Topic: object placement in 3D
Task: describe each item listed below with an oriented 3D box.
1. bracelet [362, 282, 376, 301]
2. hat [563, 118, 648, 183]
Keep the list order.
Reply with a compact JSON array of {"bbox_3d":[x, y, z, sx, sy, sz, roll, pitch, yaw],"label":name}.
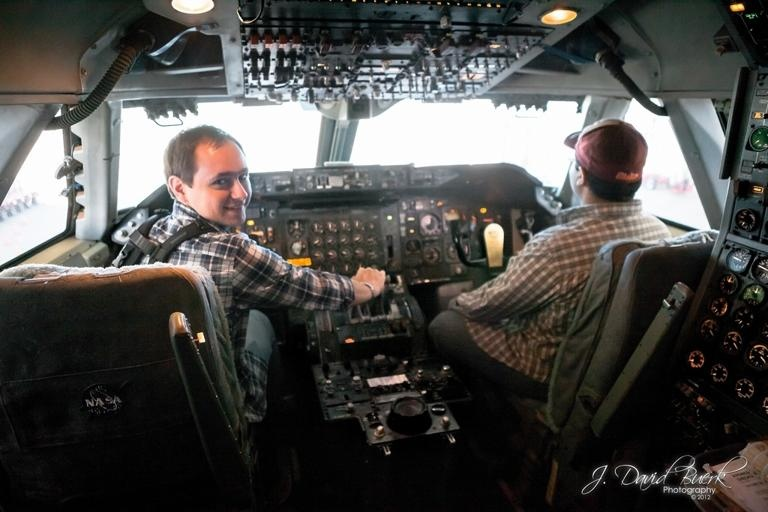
[{"bbox_3d":[-0.075,0.207,3.153,0.034,0.075,0.085,-12,58,-23],"label":"bracelet"},{"bbox_3d":[1.203,-0.593,2.974,0.283,0.217,0.400,-1,41,-8],"label":"hat"}]
